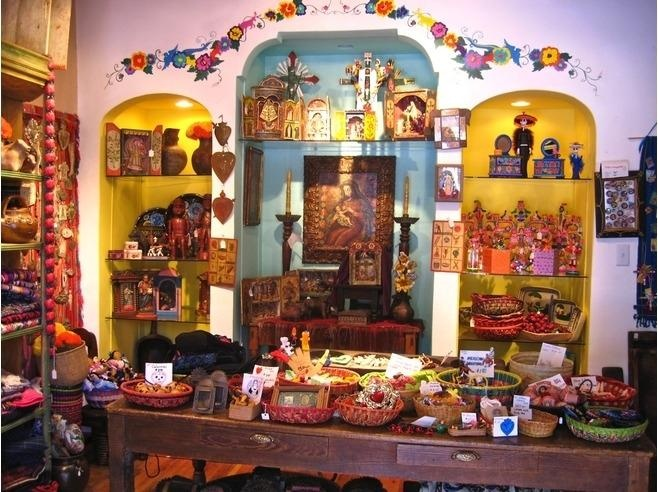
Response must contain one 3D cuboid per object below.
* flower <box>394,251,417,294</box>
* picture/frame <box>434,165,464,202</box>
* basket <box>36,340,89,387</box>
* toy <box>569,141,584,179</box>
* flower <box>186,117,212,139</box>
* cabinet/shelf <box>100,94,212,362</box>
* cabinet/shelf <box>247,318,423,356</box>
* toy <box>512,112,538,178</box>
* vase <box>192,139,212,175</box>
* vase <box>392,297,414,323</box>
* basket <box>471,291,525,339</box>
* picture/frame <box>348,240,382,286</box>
[{"bbox_3d":[0.743,0.263,5.457,0.200,0.406,0.172,1,2,12],"label":"flower"},{"bbox_3d":[1.092,-0.564,5.075,0.329,0.452,0.060,1,-3,6],"label":"picture/frame"},{"bbox_3d":[-2.205,0.966,4.753,0.368,0.378,0.366,-1,-4,-6],"label":"basket"},{"bbox_3d":[2.350,-0.785,5.313,0.118,0.346,0.530,1,2,24],"label":"toy"},{"bbox_3d":[-1.278,-1.158,5.635,0.379,0.179,0.126,2,2,31],"label":"flower"},{"bbox_3d":[-1.805,-0.193,6.021,1.037,2.837,1.114,1,2,-2],"label":"cabinet/shelf"},{"bbox_3d":[0.058,0.880,5.359,1.645,0.344,0.360,1,2,4],"label":"cabinet/shelf"},{"bbox_3d":[1.927,-1.012,5.542,0.205,0.741,0.778,1,2,20],"label":"toy"},{"bbox_3d":[-1.279,-0.893,5.680,0.205,0.362,0.145,1,2,-1],"label":"vase"},{"bbox_3d":[0.700,0.620,5.408,0.243,0.305,0.230,1,-9,-4],"label":"vase"},{"bbox_3d":[1.599,0.663,5.315,0.482,0.375,0.473,1,2,15],"label":"basket"},{"bbox_3d":[0.356,0.185,5.501,0.409,0.556,0.097,0,-1,6],"label":"picture/frame"}]
